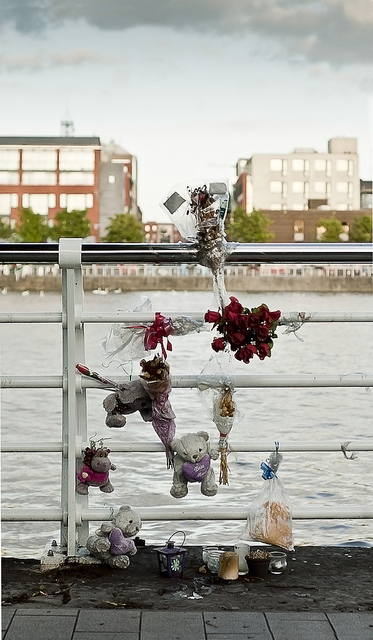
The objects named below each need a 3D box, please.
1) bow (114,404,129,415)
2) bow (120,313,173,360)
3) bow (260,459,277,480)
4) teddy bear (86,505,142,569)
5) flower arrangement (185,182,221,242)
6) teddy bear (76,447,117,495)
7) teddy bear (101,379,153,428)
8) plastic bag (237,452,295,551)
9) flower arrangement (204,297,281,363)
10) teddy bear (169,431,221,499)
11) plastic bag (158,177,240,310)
[{"bbox_3d":[-0.278,0.379,5.836,0.044,0.040,0.036,14,-10,-7],"label":"bow"},{"bbox_3d":[-0.171,0.047,5.735,0.143,0.203,0.180,-16,-19,41],"label":"bow"},{"bbox_3d":[0.339,0.640,5.809,0.075,0.068,0.060,33,8,-21],"label":"bow"},{"bbox_3d":[-0.304,0.907,5.785,0.183,0.284,0.182,10,-6,-18],"label":"teddy bear"},{"bbox_3d":[0.064,-0.477,5.991,0.103,0.250,0.100,-2,9,-14],"label":"flower arrangement"},{"bbox_3d":[-0.407,0.623,5.837,0.196,0.264,0.170,3,-5,-30],"label":"teddy bear"},{"bbox_3d":[-0.254,0.345,5.865,0.208,0.209,0.170,-2,10,-2],"label":"teddy bear"},{"bbox_3d":[0.336,0.788,5.864,0.186,0.422,0.218,-1,5,-12],"label":"plastic bag"},{"bbox_3d":[0.230,0.024,5.716,0.232,0.309,0.226,-1,8,-33],"label":"flower arrangement"},{"bbox_3d":[0.029,0.629,5.884,0.222,0.317,0.227,-3,10,-10],"label":"teddy bear"},{"bbox_3d":[0.089,-0.300,5.977,0.318,0.592,0.232,-7,-28,-2],"label":"plastic bag"}]
